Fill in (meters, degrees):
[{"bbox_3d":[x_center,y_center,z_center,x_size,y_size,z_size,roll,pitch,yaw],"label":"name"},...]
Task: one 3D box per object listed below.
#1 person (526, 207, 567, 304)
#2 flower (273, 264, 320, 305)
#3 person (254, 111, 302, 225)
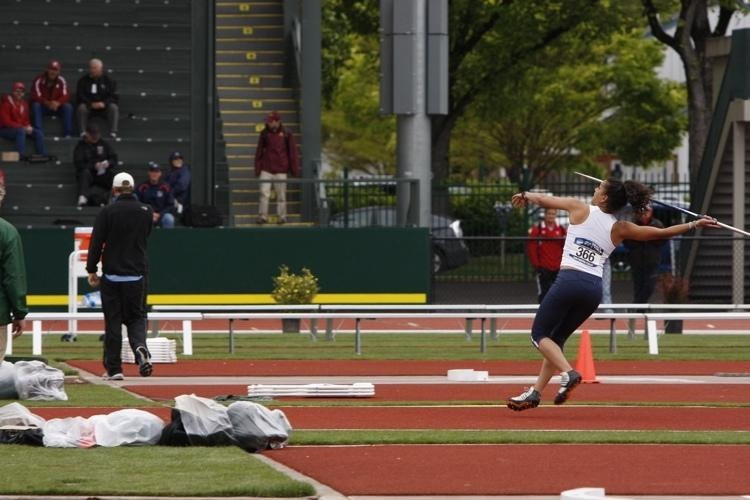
[{"bbox_3d":[3.875,0.026,43.088,0.899,2.023,0.882,6,0,-28],"label":"person"},{"bbox_3d":[-1.790,0.777,43.993,1.120,0.831,3.289,0,1,-2],"label":"flower"},{"bbox_3d":[-2.402,-2.024,46.914,1.017,2.707,1.293,1,1,-3],"label":"person"}]
